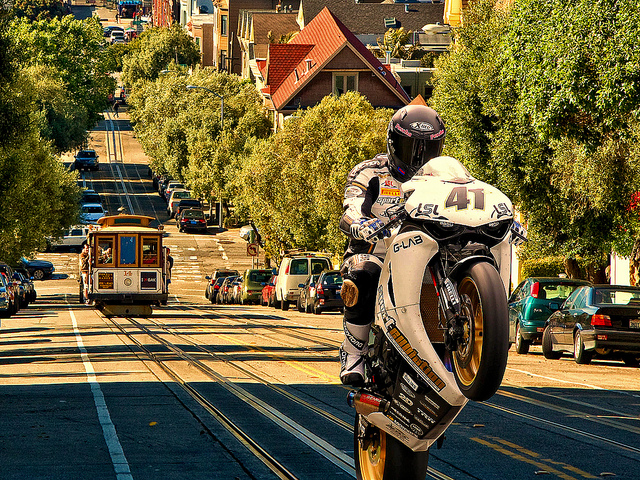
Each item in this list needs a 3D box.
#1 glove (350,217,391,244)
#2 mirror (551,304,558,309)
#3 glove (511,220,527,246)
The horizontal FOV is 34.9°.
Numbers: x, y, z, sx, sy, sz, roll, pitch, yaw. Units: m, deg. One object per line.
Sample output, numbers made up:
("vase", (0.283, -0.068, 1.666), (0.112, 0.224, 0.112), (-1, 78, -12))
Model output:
("glove", (0.437, -0.110, 9.303), (0.259, 0.133, 0.263), (5, -4, 41))
("mirror", (5.495, 1.543, 23.808), (0.133, 0.146, 0.293), (-8, 4, 17))
("glove", (1.741, -0.052, 8.985), (0.079, 0.231, 0.165), (-5, 16, -40))
